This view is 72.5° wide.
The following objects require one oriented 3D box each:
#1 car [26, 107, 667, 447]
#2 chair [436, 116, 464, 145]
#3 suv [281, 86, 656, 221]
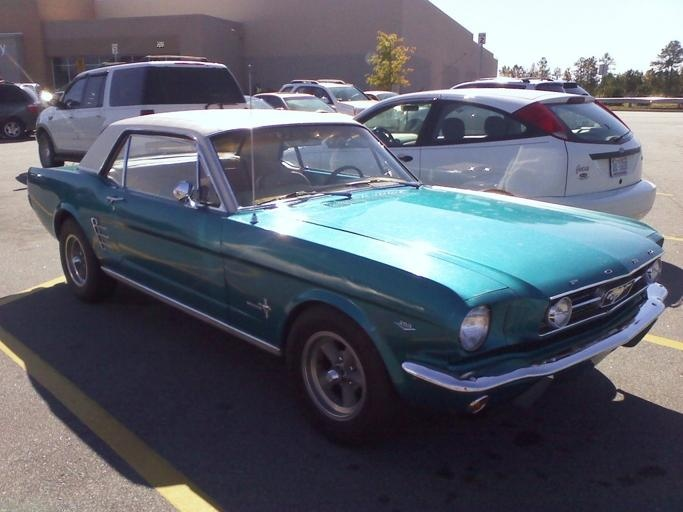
[{"bbox_3d":[-0.614,-0.317,4.284,5.927,1.940,2.466,19,29,37],"label":"car"},{"bbox_3d":[1.335,-1.470,5.748,0.338,0.337,0.316,-13,-1,13],"label":"chair"},{"bbox_3d":[1.635,-1.607,5.847,3.458,1.172,1.534,19,24,37],"label":"suv"}]
